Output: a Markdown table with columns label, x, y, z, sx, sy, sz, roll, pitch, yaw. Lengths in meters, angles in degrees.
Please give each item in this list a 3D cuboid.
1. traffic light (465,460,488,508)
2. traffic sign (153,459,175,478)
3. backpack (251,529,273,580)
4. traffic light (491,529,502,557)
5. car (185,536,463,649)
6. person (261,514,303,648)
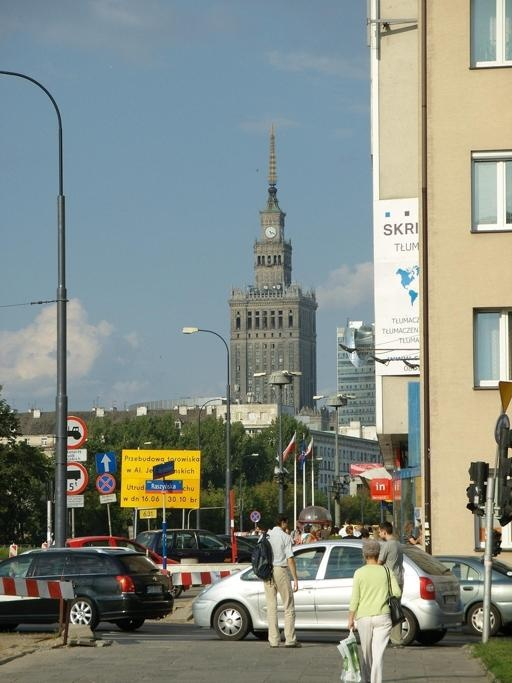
| label | x | y | z | sx | sy | sz | roll | pitch | yaw |
| --- | --- | --- | --- | --- | --- | --- | --- | --- | --- |
| traffic light | 2.938 | 1.954 | 23.775 | 0.278 | 0.701 | 0.460 | -2 | -6 | 8 |
| traffic sign | -1.922 | 2.680 | 37.594 | 0.420 | 0.320 | 0.691 | 0 | -8 | -9 |
| backpack | 0.110 | 2.973 | 24.562 | 0.298 | 0.670 | 0.281 | 2 | 6 | 6 |
| traffic light | 3.214 | 2.720 | 24.039 | 0.084 | 0.360 | 0.553 | -2 | -7 | 12 |
| car | 1.028 | 3.569 | 25.154 | 2.936 | 1.478 | 1.645 | 0 | -6 | 13 |
| person | 0.357 | 3.362 | 24.442 | 0.400 | 1.610 | 0.385 | -4 | -9 | 20 |
